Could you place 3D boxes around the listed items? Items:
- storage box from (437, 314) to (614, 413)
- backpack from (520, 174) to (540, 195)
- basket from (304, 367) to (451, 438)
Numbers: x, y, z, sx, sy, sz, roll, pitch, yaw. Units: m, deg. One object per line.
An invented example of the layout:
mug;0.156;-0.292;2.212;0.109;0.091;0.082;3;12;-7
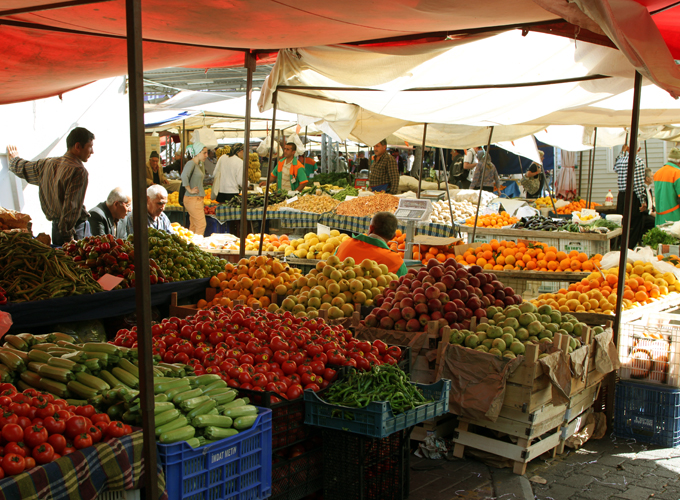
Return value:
storage box;1.682;0.893;4.273;0.858;0.364;1.187;2;3;41
backpack;6.018;-2.004;15.662;0.340;0.708;0.585;-1;4;-38
basket;0.300;0.957;3.443;0.760;0.209;0.473;16;-26;-17
